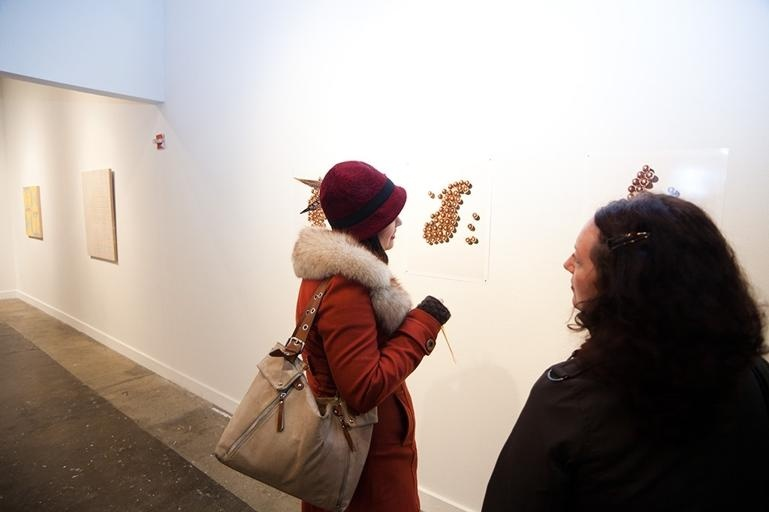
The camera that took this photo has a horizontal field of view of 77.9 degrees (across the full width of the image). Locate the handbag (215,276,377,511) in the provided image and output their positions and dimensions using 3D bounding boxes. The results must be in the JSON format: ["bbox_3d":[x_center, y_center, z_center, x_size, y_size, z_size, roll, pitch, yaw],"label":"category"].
[{"bbox_3d":[-0.330,0.541,1.847,0.583,0.864,0.232,4,12,9],"label":"handbag"}]

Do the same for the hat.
[{"bbox_3d":[-0.090,-0.213,1.999,0.337,0.322,0.200,12,-21,50],"label":"hat"}]
